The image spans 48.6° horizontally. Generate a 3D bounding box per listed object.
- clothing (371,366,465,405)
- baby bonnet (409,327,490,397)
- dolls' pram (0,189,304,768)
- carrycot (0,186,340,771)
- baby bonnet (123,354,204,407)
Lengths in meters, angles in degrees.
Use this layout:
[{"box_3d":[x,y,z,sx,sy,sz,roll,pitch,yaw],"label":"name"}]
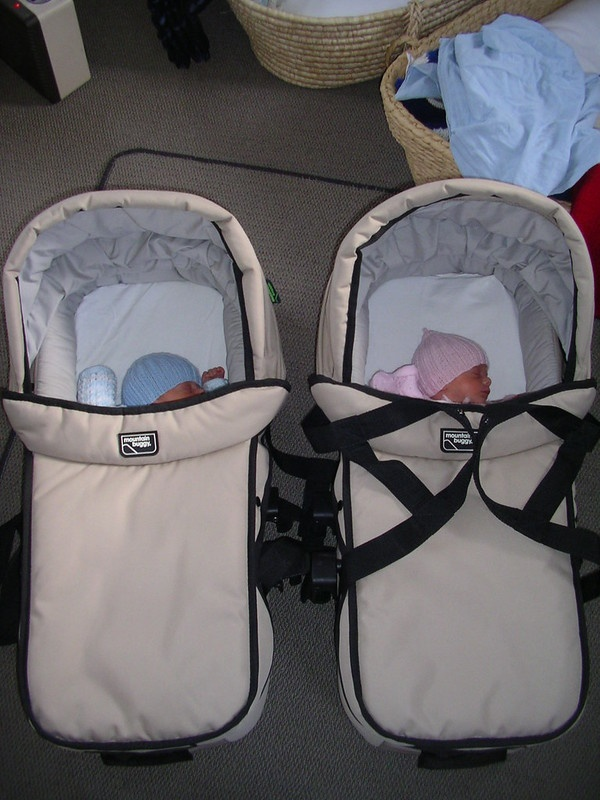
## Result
[{"box_3d":[0.228,-0.032,1.513,0.122,0.048,0.094,-3,66,8],"label":"clothing"},{"box_3d":[0.336,-0.086,1.566,0.164,0.122,0.162,-35,70,39],"label":"baby bonnet"},{"box_3d":[-0.322,0.098,1.554,0.643,0.459,1.180,-2,75,-7],"label":"dolls' pram"},{"box_3d":[-0.288,0.062,1.551,0.690,0.524,1.243,-3,74,-7],"label":"carrycot"},{"box_3d":[-0.331,-0.038,1.514,0.146,0.118,0.108,-34,78,13],"label":"baby bonnet"}]
